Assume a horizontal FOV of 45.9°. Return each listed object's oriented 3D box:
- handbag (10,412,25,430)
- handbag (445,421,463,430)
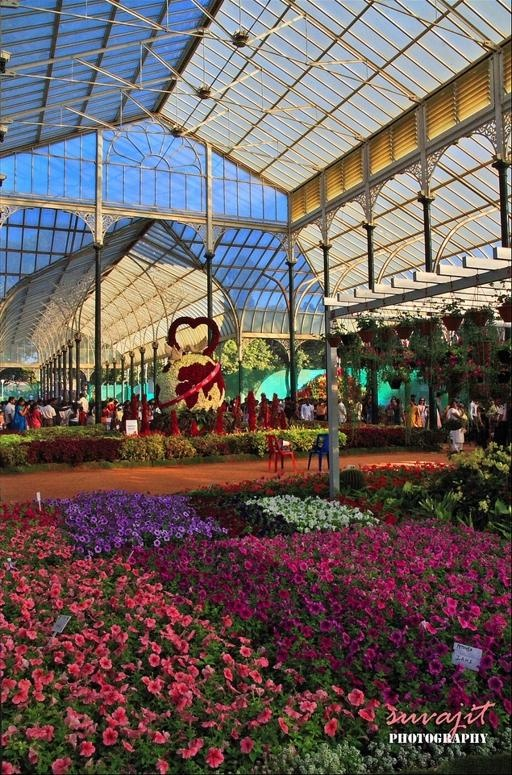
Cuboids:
[{"bbox_3d":[-7.233,1.022,18.596,0.494,0.751,0.386,1,-10,-19],"label":"handbag"},{"bbox_3d":[4.115,0.787,12.659,0.253,0.213,0.283,1,0,-13],"label":"handbag"}]
